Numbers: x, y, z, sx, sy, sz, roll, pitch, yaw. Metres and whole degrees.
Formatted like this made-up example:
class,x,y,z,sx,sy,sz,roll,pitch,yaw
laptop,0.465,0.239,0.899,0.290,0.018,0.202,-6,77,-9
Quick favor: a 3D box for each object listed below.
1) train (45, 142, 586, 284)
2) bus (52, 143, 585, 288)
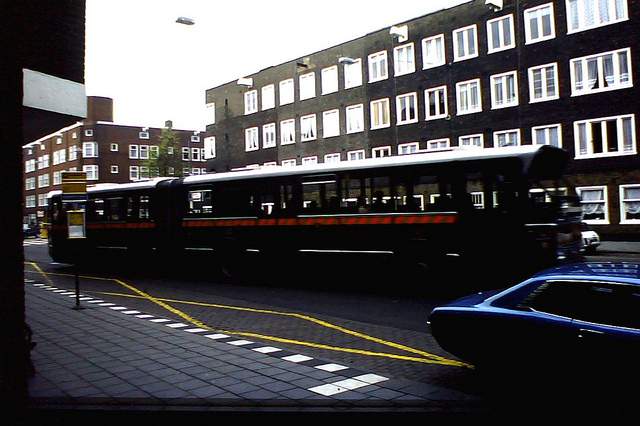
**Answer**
class,x,y,z,sx,sy,sz,roll,pitch,yaw
train,-5.646,0.107,21.805,28.279,4.044,6.236,-2,-3,34
bus,-1.893,0.094,19.397,18.874,2.790,3.050,-1,10,32
